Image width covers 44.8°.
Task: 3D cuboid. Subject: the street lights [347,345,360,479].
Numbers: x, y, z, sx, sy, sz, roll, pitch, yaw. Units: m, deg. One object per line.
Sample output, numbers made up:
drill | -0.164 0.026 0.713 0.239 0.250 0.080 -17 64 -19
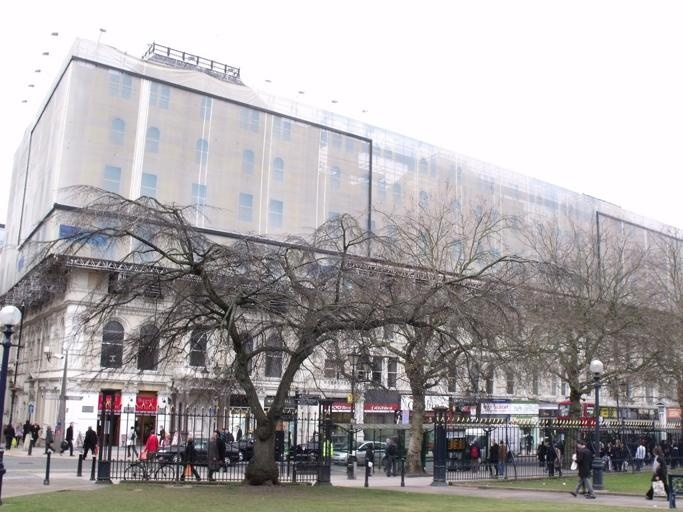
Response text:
street lights | 0.537 8.518 44.554 0.953 7.006 0.718 2 -11 -27

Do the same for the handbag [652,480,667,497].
handbag | 13.795 10.124 35.955 0.546 0.759 0.285 -13 -35 25
